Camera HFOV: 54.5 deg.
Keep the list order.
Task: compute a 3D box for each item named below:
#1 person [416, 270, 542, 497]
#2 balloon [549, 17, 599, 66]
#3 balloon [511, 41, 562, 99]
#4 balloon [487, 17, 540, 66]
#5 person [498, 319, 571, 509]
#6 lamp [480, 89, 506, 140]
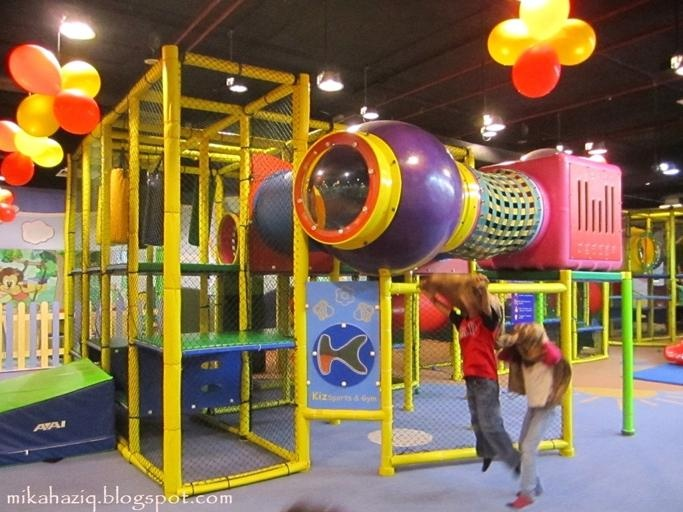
[{"bbox_3d":[1.330,1.242,6.362,0.921,2.493,1.078,9,-20,-15],"label":"person"},{"bbox_3d":[2.308,-2.091,6.587,0.398,0.456,0.408,3,4,14],"label":"balloon"},{"bbox_3d":[1.898,-1.830,6.599,0.505,0.507,0.665,-9,5,4],"label":"balloon"},{"bbox_3d":[1.702,-2.179,6.794,0.424,0.477,0.415,6,4,-41],"label":"balloon"},{"bbox_3d":[1.622,1.322,5.643,0.608,1.495,0.545,2,8,16],"label":"person"},{"bbox_3d":[2.088,-2.008,9.690,0.330,0.539,0.225,-22,-8,-43],"label":"lamp"}]
